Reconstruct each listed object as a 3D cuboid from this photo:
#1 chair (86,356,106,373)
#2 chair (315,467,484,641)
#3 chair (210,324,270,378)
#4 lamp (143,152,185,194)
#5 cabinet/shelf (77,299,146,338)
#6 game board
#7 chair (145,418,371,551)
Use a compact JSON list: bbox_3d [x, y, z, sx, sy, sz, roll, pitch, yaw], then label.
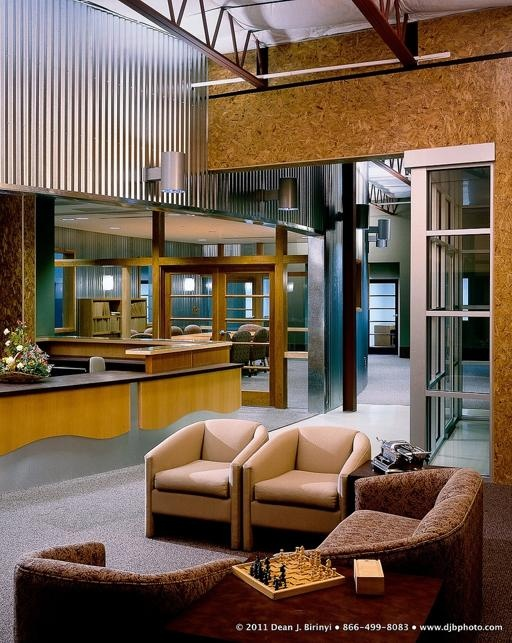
[{"bbox_3d":[-1.924,0.521,6.413,0.169,0.179,0.628,-3,-2,-17],"label":"chair"},{"bbox_3d":[0.651,0.827,2.057,0.628,0.600,0.897,4,0,20],"label":"chair"},{"bbox_3d":[-0.240,0.548,9.826,0.769,1.138,0.844,-2,-5,24],"label":"chair"},{"bbox_3d":[-0.982,-1.577,5.601,0.396,0.341,0.235,-1,1,12],"label":"lamp"},{"bbox_3d":[-3.649,-0.125,13.749,0.547,1.024,2.172,-4,-2,26],"label":"cabinet/shelf"},{"bbox_3d":[0.099,0.743,1.571,0.234,0.068,0.239,2,-11,-25],"label":"game board"},{"bbox_3d":[0.080,0.935,4.077,1.057,0.976,1.327,0,0,25],"label":"chair"}]
